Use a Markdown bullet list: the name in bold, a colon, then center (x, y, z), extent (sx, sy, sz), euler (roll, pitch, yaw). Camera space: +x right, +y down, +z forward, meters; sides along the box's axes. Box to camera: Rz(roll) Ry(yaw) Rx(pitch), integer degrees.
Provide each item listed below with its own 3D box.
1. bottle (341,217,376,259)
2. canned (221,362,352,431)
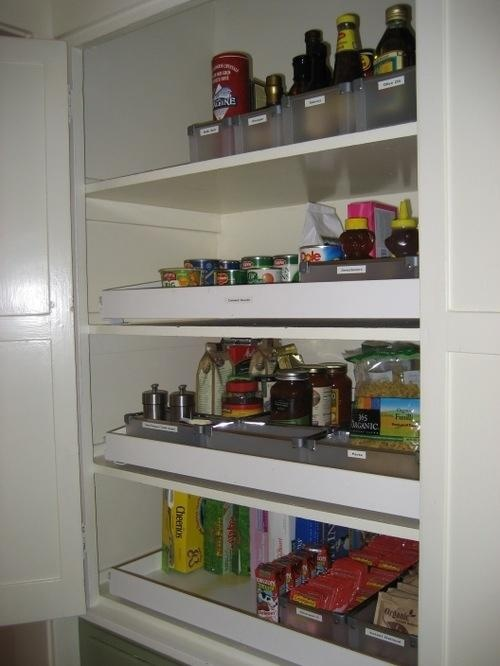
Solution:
- **bottle**: center (0.177, -0.155, 0.935), extent (0.067, 0.077, 0.066), euler (-2, -1, -5)
- **canned**: center (0.076, 0.132, 1.127), extent (0.167, 0.154, 0.101), euler (3, -2, -40)
